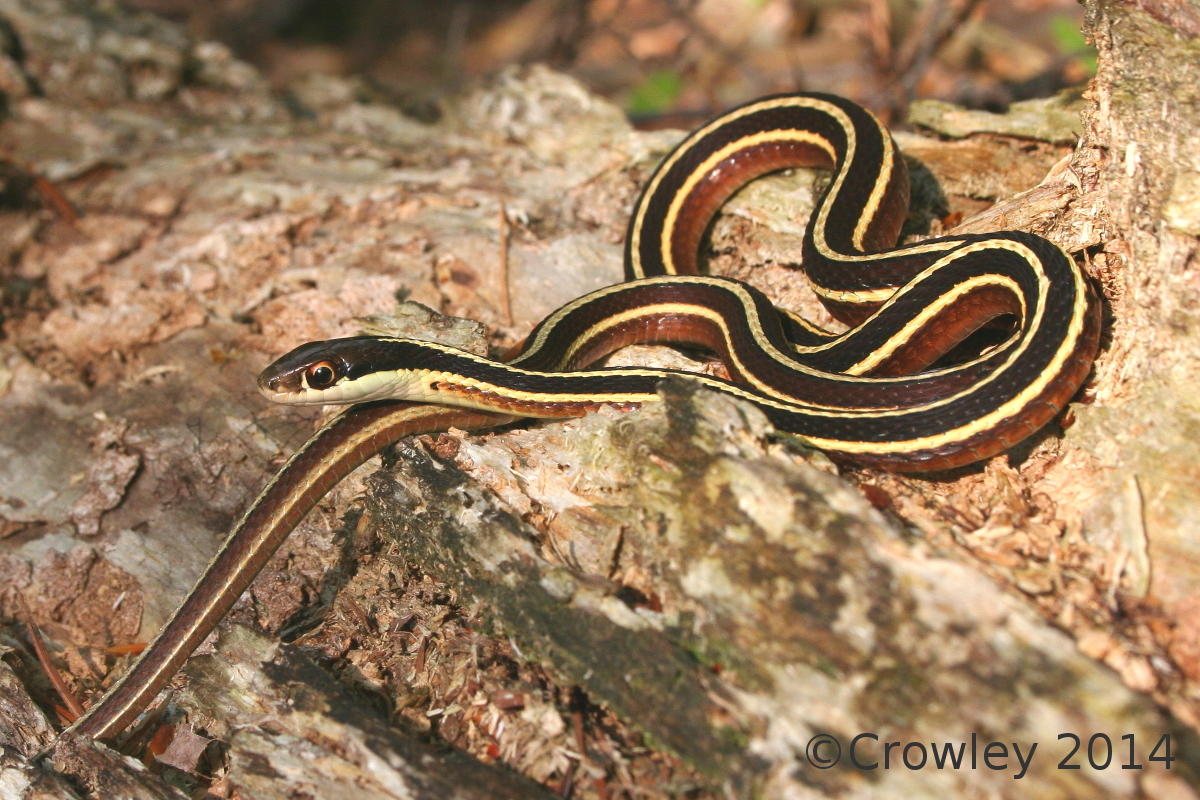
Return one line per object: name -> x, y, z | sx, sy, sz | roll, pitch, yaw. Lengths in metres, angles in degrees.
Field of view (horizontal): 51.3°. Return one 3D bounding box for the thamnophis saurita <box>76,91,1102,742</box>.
thamnophis saurita -> -0.014, 0.250, 9.155 | 5.287, 6.302, 3.921 | 1, 77, -3
